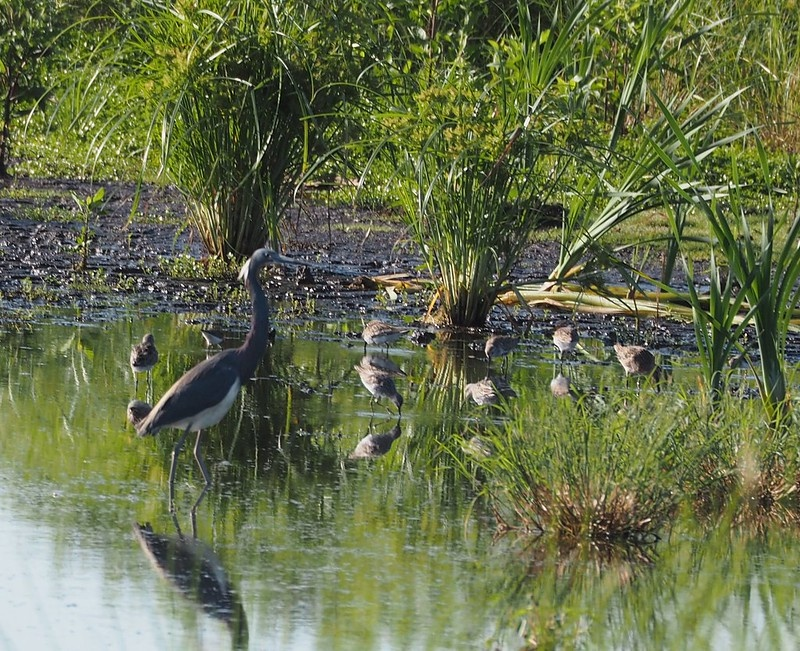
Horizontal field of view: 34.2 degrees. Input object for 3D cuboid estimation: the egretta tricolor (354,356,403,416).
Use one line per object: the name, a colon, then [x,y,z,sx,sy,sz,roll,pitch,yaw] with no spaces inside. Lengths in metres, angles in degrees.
egretta tricolor: [-0.159,0.454,10.030,0.376,0.260,0.969,3,13,-2]

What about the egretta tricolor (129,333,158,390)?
egretta tricolor: [-1.913,0.273,9.767,0.176,0.392,0.414,-1,4,7]

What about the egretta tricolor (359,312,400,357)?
egretta tricolor: [-0.167,0.117,11.472,0.312,0.325,0.755,3,13,-4]
